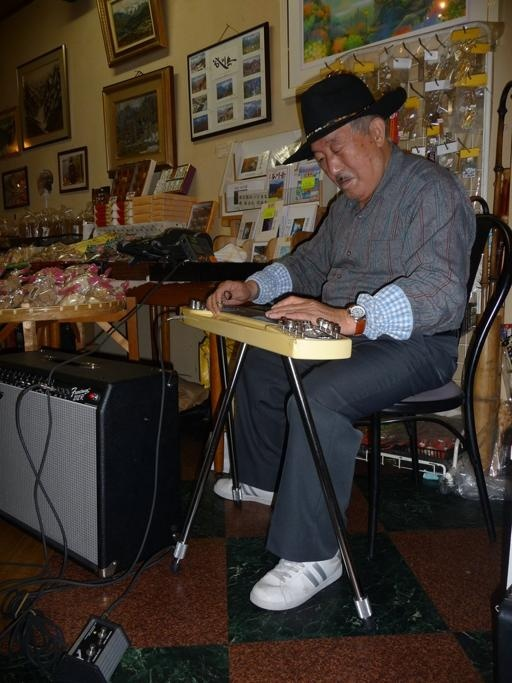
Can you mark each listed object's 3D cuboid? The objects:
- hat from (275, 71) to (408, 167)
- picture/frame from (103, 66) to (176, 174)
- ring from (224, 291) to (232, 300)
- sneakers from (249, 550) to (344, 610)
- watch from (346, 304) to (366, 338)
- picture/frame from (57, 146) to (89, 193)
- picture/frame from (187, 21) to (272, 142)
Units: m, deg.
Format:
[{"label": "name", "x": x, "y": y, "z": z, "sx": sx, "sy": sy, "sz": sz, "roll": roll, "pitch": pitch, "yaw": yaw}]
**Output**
[{"label": "hat", "x": 0.214, "y": -0.637, "z": 1.441, "sx": 0.368, "sy": 0.144, "sz": 0.326, "roll": -14, "pitch": 30, "yaw": 33}, {"label": "picture/frame", "x": -0.771, "y": -1.502, "z": 3.609, "sx": 0.068, "sy": 0.626, "sz": 0.872, "roll": -12, "pitch": 17, "yaw": -40}, {"label": "ring", "x": -0.078, "y": -0.127, "z": 1.487, "sx": 0.018, "sy": 0.023, "sz": 0.008, "roll": -9, "pitch": 18, "yaw": -16}, {"label": "sneakers", "x": 0.097, "y": 0.563, "z": 1.290, "sx": 0.214, "sy": 0.090, "sz": 0.095, "roll": -12, "pitch": 12, "yaw": -28}, {"label": "watch", "x": 0.215, "y": -0.043, "z": 1.145, "sx": 0.041, "sy": 0.060, "sz": 0.063, "roll": 6, "pitch": 8, "yaw": -17}, {"label": "picture/frame", "x": -1.485, "y": -1.407, "z": 4.359, "sx": 0.034, "sy": 0.485, "sz": 0.463, "roll": -10, "pitch": 6, "yaw": -41}, {"label": "picture/frame", "x": -0.135, "y": -1.487, "z": 3.035, "sx": 0.040, "sy": 0.682, "sz": 0.870, "roll": 0, "pitch": -2, "yaw": -44}]
